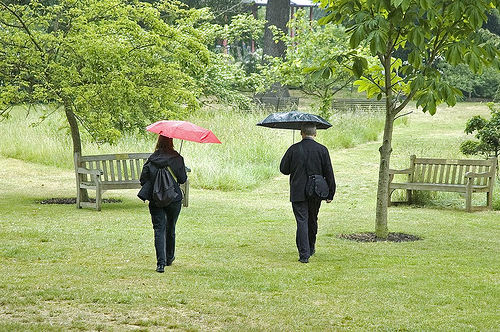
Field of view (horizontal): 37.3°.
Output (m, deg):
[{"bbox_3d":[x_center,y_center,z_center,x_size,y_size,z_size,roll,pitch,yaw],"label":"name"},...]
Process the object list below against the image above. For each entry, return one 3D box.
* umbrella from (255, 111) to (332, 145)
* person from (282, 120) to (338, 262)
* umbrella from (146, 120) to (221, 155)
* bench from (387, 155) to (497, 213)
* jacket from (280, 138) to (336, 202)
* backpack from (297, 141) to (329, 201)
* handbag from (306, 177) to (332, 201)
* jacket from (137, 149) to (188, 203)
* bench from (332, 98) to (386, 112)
[{"bbox_3d":[0.855,-0.743,14.688,1.392,0.731,1.490,0,10,-3],"label":"umbrella"},{"bbox_3d":[1.111,0.446,13.898,0.716,2.569,0.690,-8,13,-34],"label":"person"},{"bbox_3d":[-1.247,-0.494,13.852,1.175,0.673,1.136,5,17,-19],"label":"umbrella"},{"bbox_3d":[5.113,0.285,19.576,2.650,1.329,3.364,3,10,16],"label":"bench"},{"bbox_3d":[1.134,0.071,14.034,1.182,1.107,0.659,4,1,20],"label":"jacket"},{"bbox_3d":[1.188,0.112,13.759,0.586,1.066,0.350,1,11,8],"label":"backpack"},{"bbox_3d":[1.299,0.374,13.786,0.514,0.430,0.260,8,0,-42],"label":"handbag"},{"bbox_3d":[-1.563,0.166,13.466,0.873,0.903,0.402,1,7,-2],"label":"jacket"},{"bbox_3d":[6.398,-3.636,43.402,3.067,0.515,3.531,1,10,6],"label":"bench"}]
